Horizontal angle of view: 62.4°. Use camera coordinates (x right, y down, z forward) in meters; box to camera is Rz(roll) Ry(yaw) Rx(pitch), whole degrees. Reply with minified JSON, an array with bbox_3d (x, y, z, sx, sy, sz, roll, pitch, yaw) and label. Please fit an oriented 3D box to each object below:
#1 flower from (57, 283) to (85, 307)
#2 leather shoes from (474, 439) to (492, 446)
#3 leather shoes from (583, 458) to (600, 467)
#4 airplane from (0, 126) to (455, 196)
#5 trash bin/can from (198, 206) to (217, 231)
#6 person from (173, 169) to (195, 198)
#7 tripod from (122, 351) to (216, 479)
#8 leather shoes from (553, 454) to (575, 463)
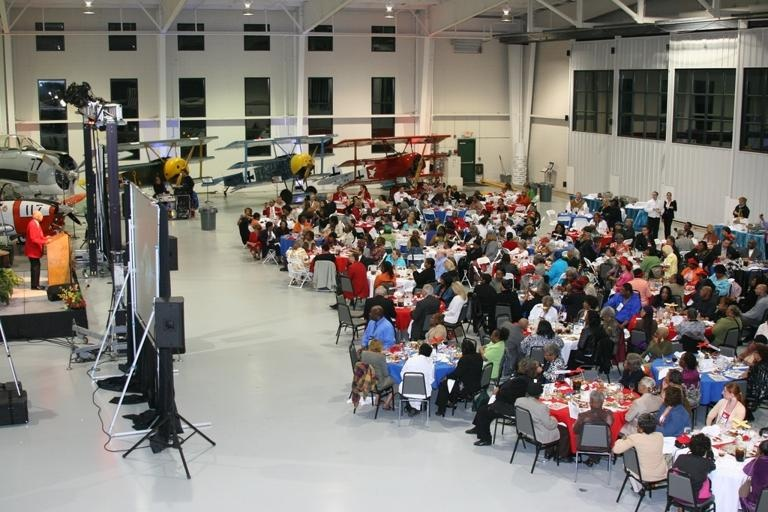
[{"bbox_3d":[-8.108,1.062,16.601,0.508,0.199,0.925,-7,23,-15],"label":"flower"},{"bbox_3d":[1.875,3.551,12.066,0.308,0.138,0.120,3,-1,0],"label":"leather shoes"},{"bbox_3d":[3.790,3.746,11.542,0.234,0.146,0.114,-7,-6,7],"label":"leather shoes"},{"bbox_3d":[-4.473,-4.892,32.756,16.997,2.681,8.737,-4,8,-23],"label":"airplane"},{"bbox_3d":[-7.470,-1.599,26.940,0.597,1.018,0.627,-3,8,-18],"label":"trash bin/can"},{"bbox_3d":[-9.227,-3.356,29.355,0.765,1.279,1.464,-3,8,-14],"label":"person"},{"bbox_3d":[-3.978,2.731,11.861,1.530,2.170,1.146,2,8,22],"label":"tripod"},{"bbox_3d":[3.299,3.702,11.622,0.403,0.119,0.174,-2,7,-10],"label":"leather shoes"}]
